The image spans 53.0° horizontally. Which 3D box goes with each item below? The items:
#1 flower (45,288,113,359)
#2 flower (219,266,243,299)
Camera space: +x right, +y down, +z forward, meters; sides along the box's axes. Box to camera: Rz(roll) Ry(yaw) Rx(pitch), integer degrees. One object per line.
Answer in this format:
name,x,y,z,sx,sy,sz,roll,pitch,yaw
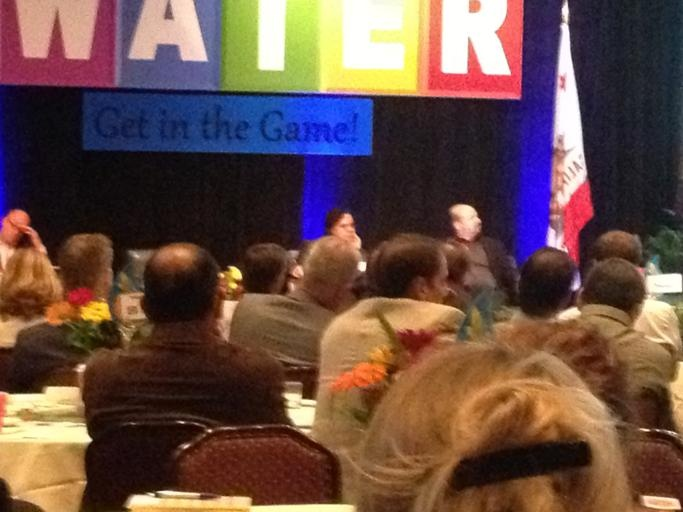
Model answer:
flower,-1.084,0.275,2.996,0.351,0.316,0.194,12,10,27
flower,-0.666,0.164,4.133,0.118,0.171,0.047,-18,-41,21
